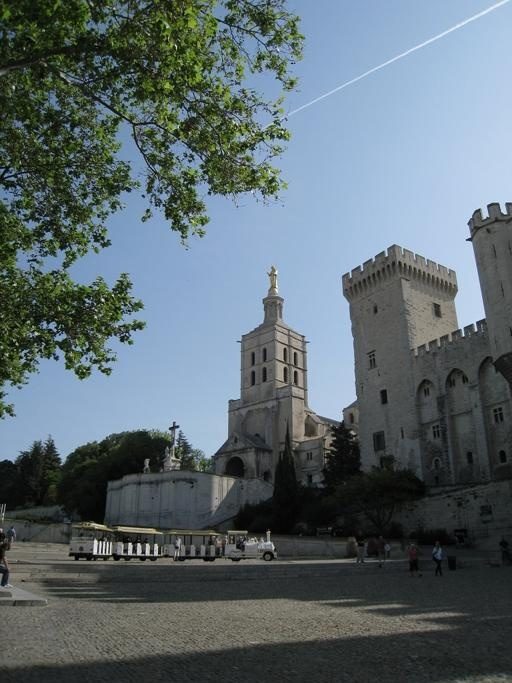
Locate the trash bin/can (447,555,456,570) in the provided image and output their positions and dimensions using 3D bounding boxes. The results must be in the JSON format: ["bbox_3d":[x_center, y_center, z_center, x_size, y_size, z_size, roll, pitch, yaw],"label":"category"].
[{"bbox_3d":[7.300,8.220,21.607,0.287,0.459,0.612,-5,-16,12],"label":"trash bin/can"}]

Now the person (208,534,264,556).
[{"bbox_3d":[-0.584,10.161,28.815,1.820,0.820,1.199,-2,-19,2],"label":"person"}]

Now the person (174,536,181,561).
[{"bbox_3d":[-3.915,10.361,28.837,0.352,0.919,1.204,1,-16,-9],"label":"person"}]
